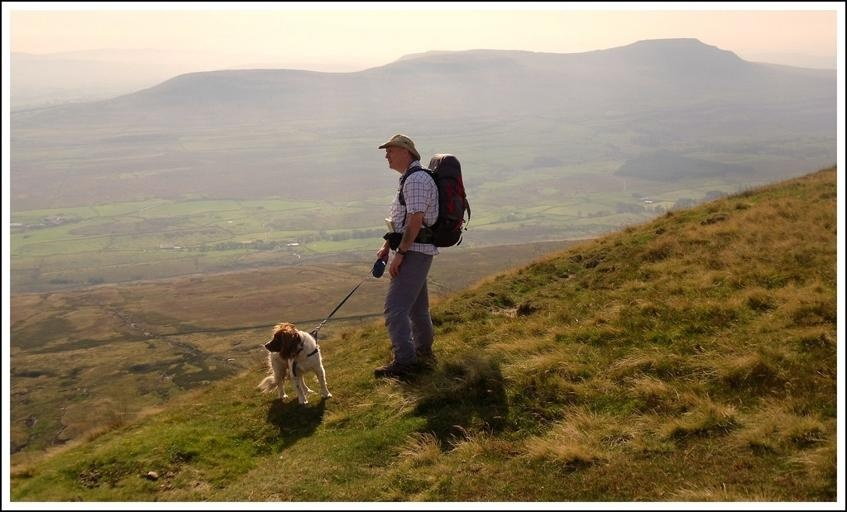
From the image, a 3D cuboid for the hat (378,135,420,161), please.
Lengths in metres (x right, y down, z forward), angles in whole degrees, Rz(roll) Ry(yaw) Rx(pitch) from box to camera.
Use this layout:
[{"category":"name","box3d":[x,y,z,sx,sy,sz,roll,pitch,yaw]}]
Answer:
[{"category":"hat","box3d":[-0.500,-2.493,12.173,0.720,0.631,1.116,-4,9,-2]}]

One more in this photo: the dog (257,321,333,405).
[{"category":"dog","box3d":[-2.856,2.342,12.056,1.515,1.753,1.036,-4,11,2]}]
